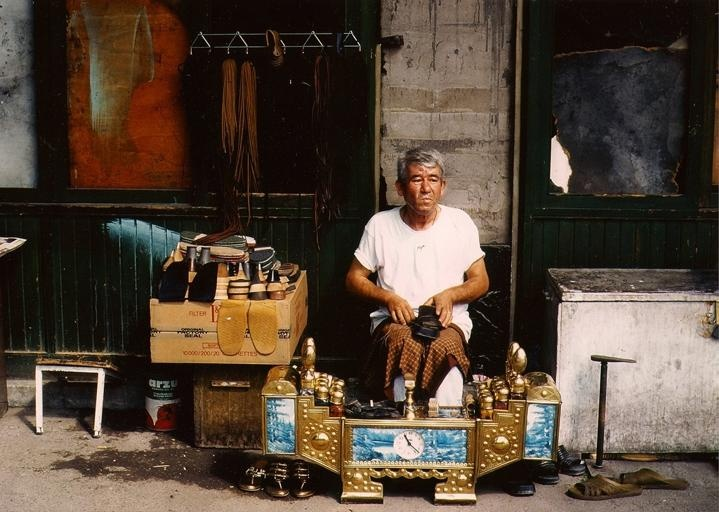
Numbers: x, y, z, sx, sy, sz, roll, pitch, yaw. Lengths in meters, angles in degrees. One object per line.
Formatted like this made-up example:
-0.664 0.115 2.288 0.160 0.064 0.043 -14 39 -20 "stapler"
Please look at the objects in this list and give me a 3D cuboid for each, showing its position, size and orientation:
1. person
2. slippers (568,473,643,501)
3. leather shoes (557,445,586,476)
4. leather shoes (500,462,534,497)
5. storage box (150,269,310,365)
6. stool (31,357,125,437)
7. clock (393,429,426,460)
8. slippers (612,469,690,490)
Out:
0.450 0.256 7.531 0.975 2.014 0.864 4 12 -3 "person"
1.777 1.697 7.086 0.553 0.184 0.130 2 0 -6 "slippers"
1.575 1.564 7.368 0.116 0.131 0.310 -5 -1 -20 "leather shoes"
1.172 1.651 7.197 0.233 0.241 0.249 2 0 8 "leather shoes"
-1.023 0.513 7.749 0.824 0.630 0.741 2 10 1 "storage box"
-2.359 1.102 8.062 0.667 0.651 0.827 3 3 -25 "stool"
0.358 1.341 6.968 0.178 0.207 0.027 1 5 1 "clock"
2.160 1.658 7.148 0.352 0.126 0.212 -7 -9 4 "slippers"
